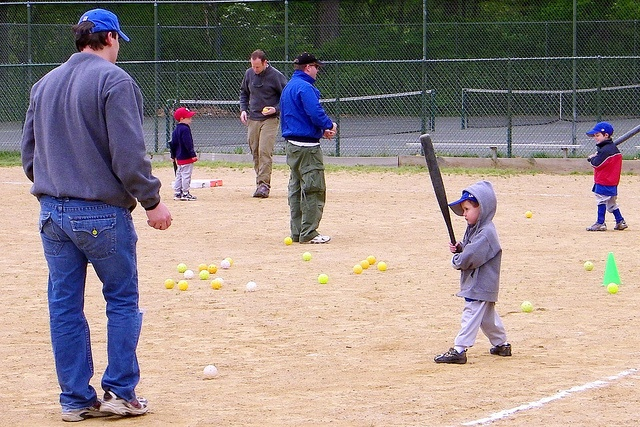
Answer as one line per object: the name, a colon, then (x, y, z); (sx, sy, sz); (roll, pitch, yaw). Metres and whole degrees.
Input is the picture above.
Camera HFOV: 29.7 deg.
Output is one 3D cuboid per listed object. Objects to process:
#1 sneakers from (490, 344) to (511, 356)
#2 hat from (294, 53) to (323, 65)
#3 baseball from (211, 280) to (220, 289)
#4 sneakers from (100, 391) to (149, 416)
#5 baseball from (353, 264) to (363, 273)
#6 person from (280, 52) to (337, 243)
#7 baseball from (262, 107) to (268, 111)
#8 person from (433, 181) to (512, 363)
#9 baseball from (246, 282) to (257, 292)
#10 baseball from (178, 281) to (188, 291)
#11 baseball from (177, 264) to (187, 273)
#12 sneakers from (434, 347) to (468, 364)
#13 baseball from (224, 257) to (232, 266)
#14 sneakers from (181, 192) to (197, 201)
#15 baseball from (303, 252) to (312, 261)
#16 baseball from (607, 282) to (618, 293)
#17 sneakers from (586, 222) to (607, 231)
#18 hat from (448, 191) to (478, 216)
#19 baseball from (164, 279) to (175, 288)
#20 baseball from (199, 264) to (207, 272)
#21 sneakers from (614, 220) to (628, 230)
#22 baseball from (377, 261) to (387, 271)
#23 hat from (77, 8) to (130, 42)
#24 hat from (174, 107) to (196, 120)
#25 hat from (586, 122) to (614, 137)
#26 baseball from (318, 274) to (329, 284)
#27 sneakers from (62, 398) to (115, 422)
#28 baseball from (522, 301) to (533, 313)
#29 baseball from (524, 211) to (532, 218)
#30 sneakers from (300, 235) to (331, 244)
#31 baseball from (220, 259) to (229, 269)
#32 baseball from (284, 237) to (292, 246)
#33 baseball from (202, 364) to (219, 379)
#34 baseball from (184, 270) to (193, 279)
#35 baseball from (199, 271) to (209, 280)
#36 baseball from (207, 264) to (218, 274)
sneakers: (2.124, 1.552, 13.871); (0.113, 0.091, 0.217); (-1, 5, -30)
hat: (-0.121, -2.265, 17.740); (0.351, 0.124, 0.215); (-5, 11, -30)
baseball: (-1.362, 0.912, 15.830); (0.153, 0.124, 0.114); (-1, 6, 8)
sneakers: (-2.094, 2.005, 12.848); (0.547, 0.233, 0.220); (2, 0, -30)
baseball: (0.537, 0.732, 16.370); (0.124, 0.100, 0.105); (2, 34, 38)
person: (-0.171, -0.964, 17.824); (0.484, 2.789, 0.724); (-8, 8, -44)
baseball: (-0.926, -1.803, 20.850); (0.081, 0.049, 0.075); (0, 7, 6)
person: (1.816, 0.659, 13.713); (0.753, 2.031, 0.353); (-2, 6, 2)
baseball: (-0.879, 0.941, 15.713); (0.122, 0.109, 0.124); (-14, -14, 39)
baseball: (-1.791, 0.918, 15.809); (0.130, 0.115, 0.133); (2, -35, 9)
baseball: (-1.893, 0.729, 16.471); (0.118, 0.108, 0.132); (22, -3, -11)
sneakers: (1.531, 1.611, 13.770); (0.433, 0.178, 0.147); (3, -1, -2)
baseball: (-1.258, 0.637, 16.633); (0.096, 0.098, 0.088); (-4, -12, -6)
sneakers: (-2.342, -0.318, 21.450); (0.334, 0.177, 0.110); (-2, 11, -7)
baseball: (-0.158, 0.600, 16.962); (0.115, 0.105, 0.103); (3, 45, -33)
baseball: (3.826, 0.950, 15.525); (0.153, 0.118, 0.127); (21, 40, 34)
sneakers: (4.276, 0.197, 18.411); (0.345, 0.143, 0.124); (0, 2, 7)
hat: (1.666, -0.127, 13.809); (0.373, 0.186, 0.211); (2, -23, -8)
baseball: (-1.968, 0.899, 15.829); (0.121, 0.102, 0.117); (-4, -7, 25)
baseball: (-1.580, 0.720, 16.352); (0.128, 0.092, 0.099); (3, 4, 1)
sneakers: (4.679, 0.159, 18.479); (0.199, 0.160, 0.214); (0, 6, 12)
baseball: (0.880, 0.704, 16.500); (0.112, 0.102, 0.122); (-25, -20, -2)
hat: (-2.261, -2.008, 12.942); (0.575, 0.276, 0.365); (-3, 11, -43)
hat: (-2.385, -1.762, 21.406); (0.349, 0.172, 0.238); (-21, 27, -8)
hat: (4.459, -1.326, 18.928); (0.524, 0.249, 0.313); (-2, 3, 12)
baseball: (0.066, 0.849, 15.959); (0.121, 0.109, 0.115); (-25, -46, 13)
sneakers: (-2.498, 2.062, 12.776); (0.575, 0.226, 0.196); (-3, 4, -29)
baseball: (2.604, 1.138, 14.972); (0.142, 0.121, 0.125); (-6, 9, -3)
baseball: (3.421, 0.001, 19.446); (0.121, 0.088, 0.096); (4, 14, -33)
sneakers: (-0.041, 0.359, 17.856); (0.436, 0.167, 0.148); (-3, 0, -2)
baseball: (-1.292, 0.682, 16.605); (0.122, 0.101, 0.113); (14, -9, -10)
baseball: (-0.449, 0.395, 17.835); (0.102, 0.091, 0.111); (21, -14, -21)
baseball: (-1.218, 1.757, 13.486); (0.149, 0.137, 0.140); (26, -45, -13)
baseball: (-1.764, 0.809, 16.263); (0.113, 0.095, 0.106); (-6, -5, -26)
baseball: (-1.541, 0.813, 16.177); (0.124, 0.107, 0.118); (-5, -2, 20)
baseball: (-1.455, 0.747, 16.404); (0.116, 0.106, 0.110); (21, 46, 16)
